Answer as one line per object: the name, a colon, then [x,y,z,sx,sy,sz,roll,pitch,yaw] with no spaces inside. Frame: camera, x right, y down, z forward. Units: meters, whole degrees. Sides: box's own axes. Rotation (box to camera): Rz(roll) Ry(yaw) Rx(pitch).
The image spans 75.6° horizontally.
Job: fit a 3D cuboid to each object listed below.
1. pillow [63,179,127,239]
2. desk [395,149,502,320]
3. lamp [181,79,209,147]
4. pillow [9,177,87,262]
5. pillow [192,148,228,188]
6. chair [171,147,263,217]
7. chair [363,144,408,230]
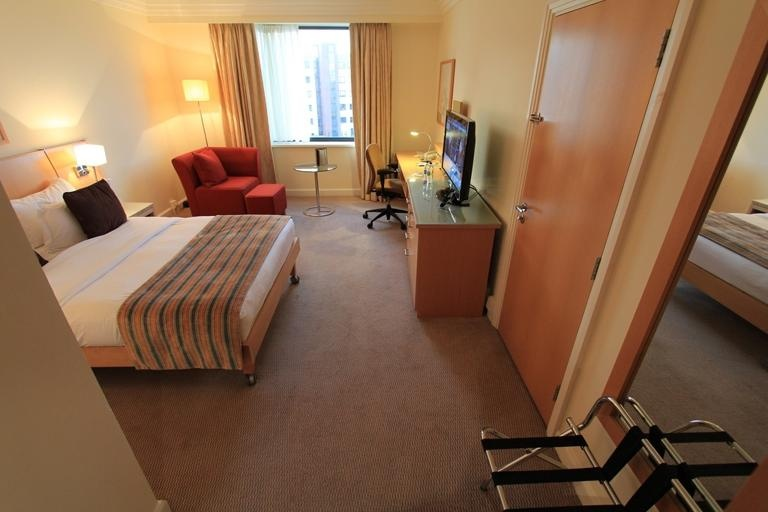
pillow: [-2.522,-0.413,4.334,0.154,0.481,0.510,-17,19,28]
desk: [0.530,-0.390,5.346,0.732,0.913,2.487,1,25,-3]
lamp: [-2.413,-1.862,6.515,0.274,0.896,0.476,-12,28,-19]
pillow: [-2.634,-0.269,3.896,0.189,0.633,0.616,-18,24,12]
pillow: [-2.135,-1.089,6.166,0.279,0.412,0.544,0,13,7]
chair: [-1.952,-0.872,6.319,0.996,1.005,0.928,-2,27,-4]
chair: [0.088,-0.912,6.284,0.643,0.977,0.715,3,17,9]
